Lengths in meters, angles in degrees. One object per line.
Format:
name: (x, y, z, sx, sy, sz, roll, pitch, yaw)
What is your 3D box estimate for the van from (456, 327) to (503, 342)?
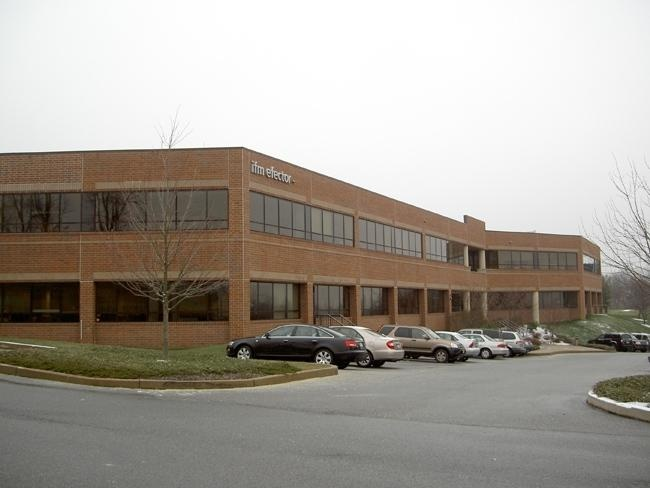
van: (10.598, 6.451, 38.454, 3.069, 1.004, 1.409, 2, -4, 0)

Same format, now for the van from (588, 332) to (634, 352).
van: (25.723, 8.763, 50.084, 1.457, 1.157, 2.981, 11, -8, -43)

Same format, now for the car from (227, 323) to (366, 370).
car: (-1.138, 3.934, 21.777, 4.725, 1.559, 0.829, -5, -10, 13)

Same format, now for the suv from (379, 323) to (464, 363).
suv: (5.031, 5.127, 28.814, 4.280, 1.601, 1.856, -2, -5, 16)
